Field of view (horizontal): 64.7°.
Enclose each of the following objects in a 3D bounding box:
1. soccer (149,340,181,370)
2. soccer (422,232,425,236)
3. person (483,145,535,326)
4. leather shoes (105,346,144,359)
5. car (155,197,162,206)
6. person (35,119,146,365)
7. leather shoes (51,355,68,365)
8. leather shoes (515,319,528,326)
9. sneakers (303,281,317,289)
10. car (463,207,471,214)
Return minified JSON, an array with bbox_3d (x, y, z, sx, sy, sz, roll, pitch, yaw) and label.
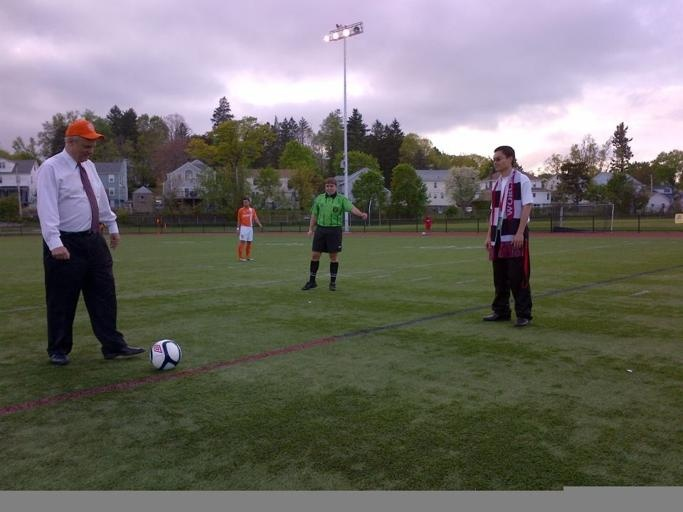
[{"bbox_3d":[-1.637,0.932,5.020,0.252,0.268,0.171,3,7,20],"label":"soccer"},{"bbox_3d":[5.560,-1.509,36.221,0.273,0.158,0.385,0,11,9],"label":"soccer"},{"bbox_3d":[2.075,-0.248,6.678,0.589,2.183,0.501,4,7,31],"label":"person"},{"bbox_3d":[-2.188,0.982,5.478,0.355,0.158,0.141,-7,5,-14],"label":"leather shoes"},{"bbox_3d":[-28.280,-8.437,83.559,1.514,1.482,1.071,1,-1,-26],"label":"car"},{"bbox_3d":[-2.547,-0.157,5.318,0.688,2.407,0.846,5,8,39],"label":"person"},{"bbox_3d":[-2.746,1.015,5.234,0.187,0.084,0.077,1,0,26],"label":"leather shoes"},{"bbox_3d":[2.216,0.813,6.585,0.183,0.074,0.154,1,7,7],"label":"leather shoes"},{"bbox_3d":[-0.575,0.536,9.778,0.270,0.132,0.314,-1,7,-8],"label":"sneakers"},{"bbox_3d":[21.520,-7.787,91.726,1.103,0.936,5.894,1,7,10],"label":"car"}]
